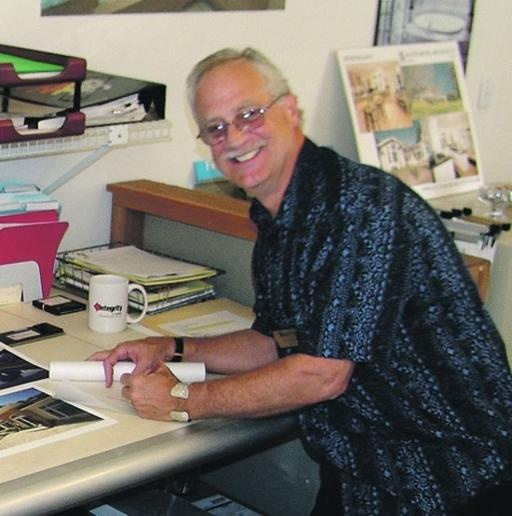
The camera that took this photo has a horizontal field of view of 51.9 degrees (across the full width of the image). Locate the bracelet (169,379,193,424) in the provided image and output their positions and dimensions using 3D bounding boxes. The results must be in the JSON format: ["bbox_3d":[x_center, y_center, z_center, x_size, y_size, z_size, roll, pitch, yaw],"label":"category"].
[{"bbox_3d":[-0.135,0.250,0.929,0.053,0.054,0.022,0,0,-18],"label":"bracelet"}]

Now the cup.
[{"bbox_3d":[-0.359,0.124,1.335,0.171,0.111,0.102,5,-4,-34],"label":"cup"}]

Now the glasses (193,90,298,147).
[{"bbox_3d":[-0.015,-0.284,1.190,0.222,0.044,0.193,-12,-5,10],"label":"glasses"}]

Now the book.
[{"bbox_3d":[-0.303,0.019,1.526,0.317,0.065,0.304,16,17,37],"label":"book"}]
